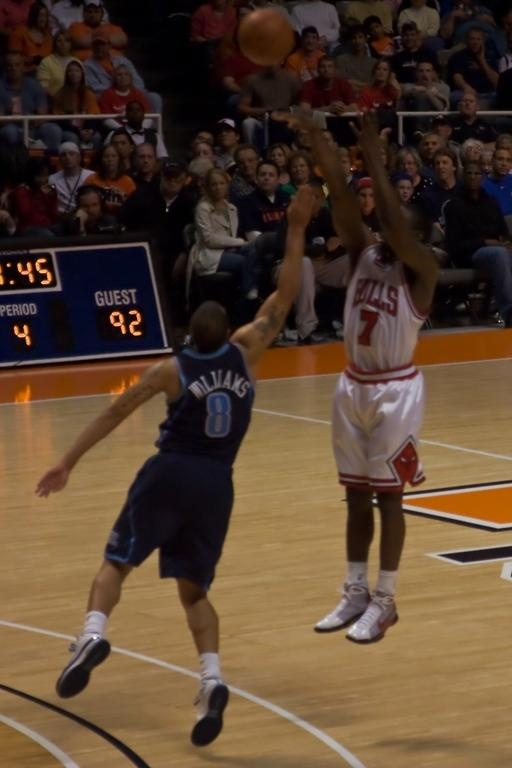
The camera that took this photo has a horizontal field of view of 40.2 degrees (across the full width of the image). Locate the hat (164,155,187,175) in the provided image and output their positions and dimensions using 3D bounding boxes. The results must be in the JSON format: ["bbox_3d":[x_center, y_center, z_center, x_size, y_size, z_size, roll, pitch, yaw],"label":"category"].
[{"bbox_3d":[-1.100,-2.940,9.532,0.287,0.352,0.304,0,-2,1],"label":"hat"}]

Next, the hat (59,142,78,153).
[{"bbox_3d":[-2.640,-3.343,9.963,0.222,0.129,0.207,-3,12,-11],"label":"hat"}]

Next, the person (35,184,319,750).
[{"bbox_3d":[-0.233,0.165,1.944,0.562,1.614,0.857,-1,-2,21],"label":"person"}]

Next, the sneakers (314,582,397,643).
[{"bbox_3d":[0.343,0.753,2.282,0.173,0.094,0.261,13,14,34],"label":"sneakers"}]

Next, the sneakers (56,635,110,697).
[{"bbox_3d":[-0.399,0.659,1.627,0.110,0.163,0.155,0,-2,-12],"label":"sneakers"}]
